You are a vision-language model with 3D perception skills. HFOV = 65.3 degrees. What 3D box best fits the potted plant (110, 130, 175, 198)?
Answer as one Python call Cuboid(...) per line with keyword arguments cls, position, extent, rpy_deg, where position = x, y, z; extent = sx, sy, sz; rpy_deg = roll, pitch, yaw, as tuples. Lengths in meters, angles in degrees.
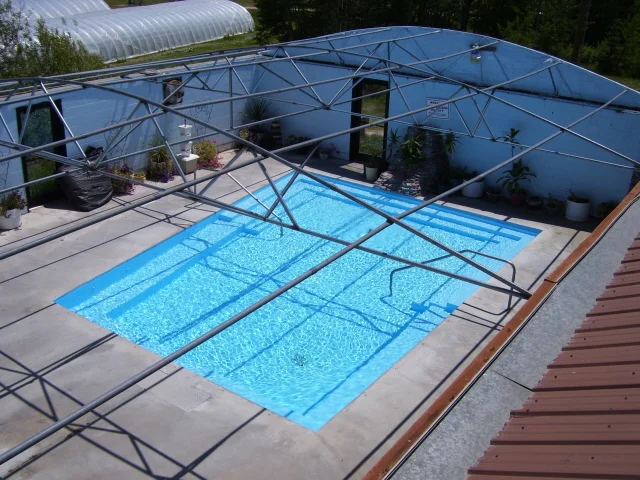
Cuboid(cls="potted plant", position=(-5.429, -2.346, 15.364), extent=(1.303, 1.271, 2.536), rpy_deg=(13, 31, 19))
